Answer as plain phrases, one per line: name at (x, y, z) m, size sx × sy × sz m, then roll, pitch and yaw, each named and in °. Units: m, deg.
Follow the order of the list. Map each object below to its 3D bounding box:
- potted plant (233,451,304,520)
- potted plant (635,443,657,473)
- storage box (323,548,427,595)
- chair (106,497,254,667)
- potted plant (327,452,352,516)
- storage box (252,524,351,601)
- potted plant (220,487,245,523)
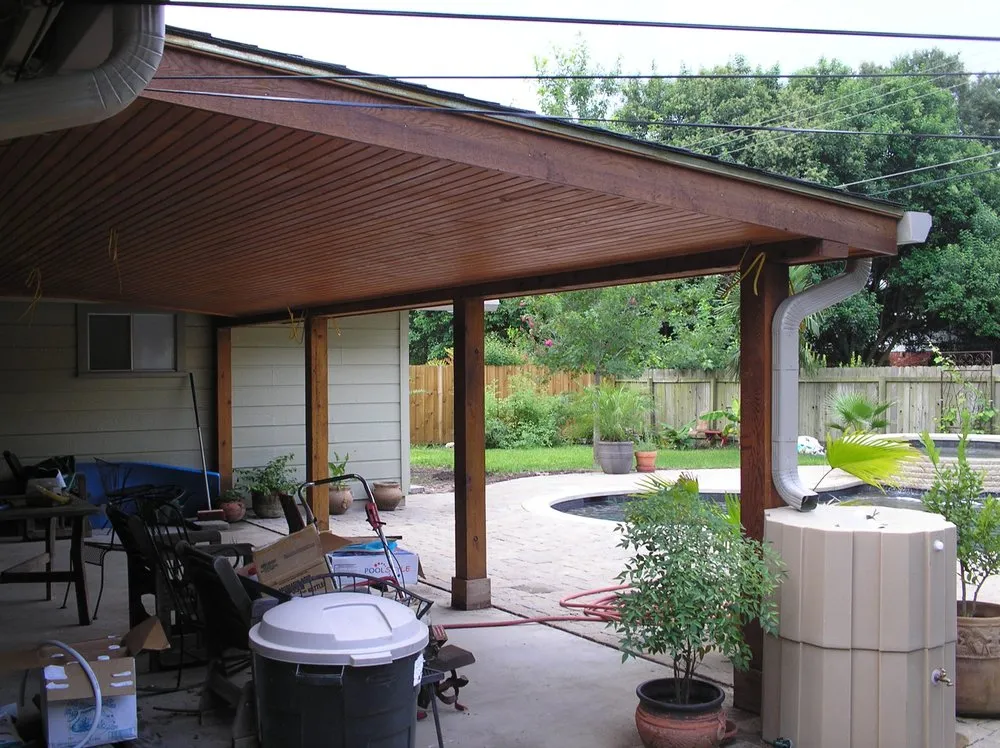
potted plant at (-2.994, 1.496, 10.785) m, size 0.770 × 0.832 × 0.698 m, roll -8°, pitch -16°, yaw 12°
potted plant at (2.586, 1.519, 14.869) m, size 0.363 × 0.449 × 0.389 m, roll 2°, pitch -9°, yaw -8°
storage box at (-0.777, 1.093, 5.007) m, size 0.545 × 0.259 × 0.545 m, roll 3°, pitch 0°, yaw -43°
chair at (-2.046, 1.342, 5.400) m, size 0.909 × 1.302 × 0.823 m, roll 1°, pitch -2°, yaw -31°
potted plant at (-2.137, 1.409, 10.963) m, size 0.368 × 0.849 × 0.391 m, roll 0°, pitch -3°, yaw 11°
storage box at (-1.246, 1.101, 5.022) m, size 0.461 × 0.497 × 0.489 m, roll 3°, pitch 2°, yaw -44°
potted plant at (-3.267, 1.616, 10.295) m, size 0.327 × 0.382 × 0.333 m, roll -3°, pitch 3°, yaw 7°
